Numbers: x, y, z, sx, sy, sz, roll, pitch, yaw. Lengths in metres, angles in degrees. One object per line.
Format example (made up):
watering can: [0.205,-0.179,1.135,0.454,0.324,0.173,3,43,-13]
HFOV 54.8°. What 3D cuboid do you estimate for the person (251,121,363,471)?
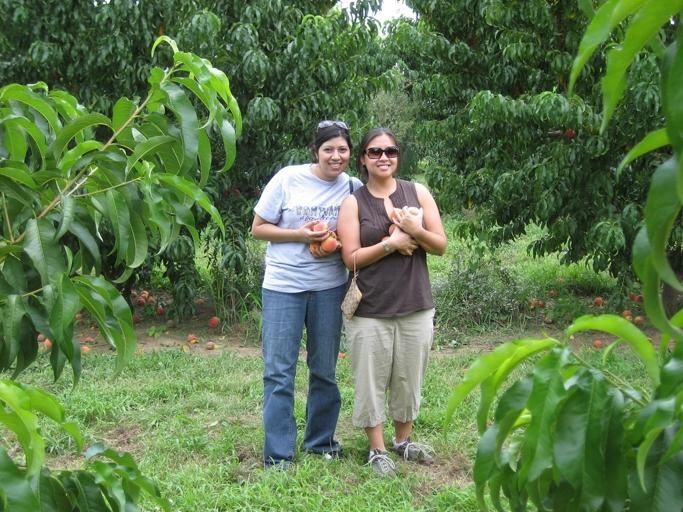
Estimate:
person: [-0.163,0.196,3.931,0.615,2.020,0.607,1,2,-20]

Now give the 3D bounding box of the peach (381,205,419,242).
peach: [0.358,-0.193,3.829,0.222,0.190,0.207,4,3,6]

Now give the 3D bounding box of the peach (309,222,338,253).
peach: [-0.110,-0.088,3.824,0.103,0.187,0.129,-20,32,-40]

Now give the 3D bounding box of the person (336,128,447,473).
person: [0.305,0.235,3.921,0.523,1.989,0.515,0,0,-20]

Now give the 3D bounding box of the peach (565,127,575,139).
peach: [2.104,-1.127,6.072,0.076,0.071,0.173,4,3,12]

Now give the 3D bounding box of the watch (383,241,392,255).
watch: [0.257,-0.046,3.729,0.050,0.059,0.017,-3,19,-11]
